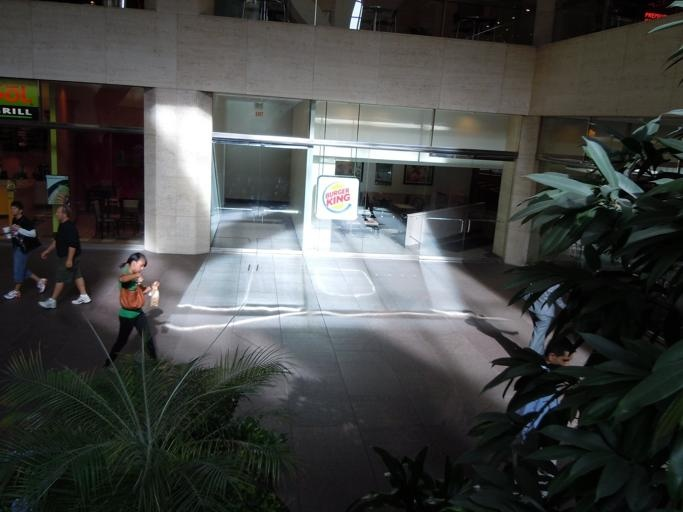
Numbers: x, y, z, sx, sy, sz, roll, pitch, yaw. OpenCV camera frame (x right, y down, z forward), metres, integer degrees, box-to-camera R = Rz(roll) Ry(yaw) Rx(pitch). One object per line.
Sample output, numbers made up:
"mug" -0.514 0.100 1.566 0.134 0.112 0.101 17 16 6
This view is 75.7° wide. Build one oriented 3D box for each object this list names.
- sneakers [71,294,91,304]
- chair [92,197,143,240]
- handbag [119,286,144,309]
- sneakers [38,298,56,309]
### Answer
"sneakers" -5.129 0.844 8.700 0.465 0.202 0.161 -3 3 6
"chair" -6.842 -1.188 13.629 1.263 1.368 1.370 -4 9 -32
"handbag" -2.869 0.559 5.970 0.372 0.317 0.193 -3 9 -32
"sneakers" -5.702 0.908 8.437 0.423 0.139 0.193 -3 22 43
